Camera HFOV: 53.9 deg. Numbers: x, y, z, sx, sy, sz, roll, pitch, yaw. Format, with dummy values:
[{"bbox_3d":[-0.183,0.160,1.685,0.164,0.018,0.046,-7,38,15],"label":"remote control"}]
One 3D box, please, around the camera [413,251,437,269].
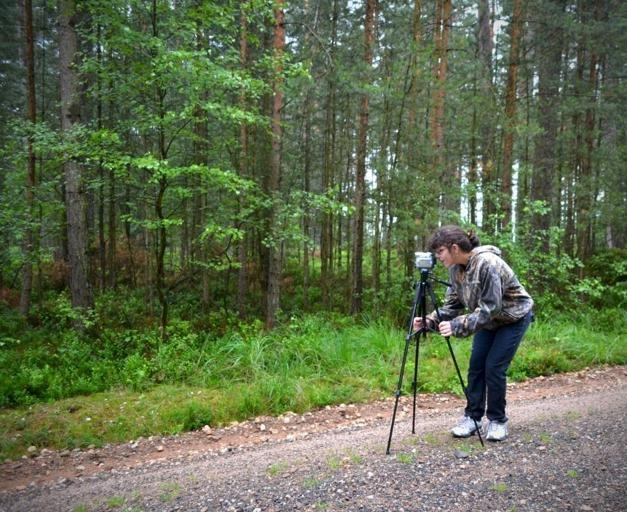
[{"bbox_3d":[2.175,0.101,11.984,0.451,0.491,0.272,0,-8,4],"label":"camera"}]
